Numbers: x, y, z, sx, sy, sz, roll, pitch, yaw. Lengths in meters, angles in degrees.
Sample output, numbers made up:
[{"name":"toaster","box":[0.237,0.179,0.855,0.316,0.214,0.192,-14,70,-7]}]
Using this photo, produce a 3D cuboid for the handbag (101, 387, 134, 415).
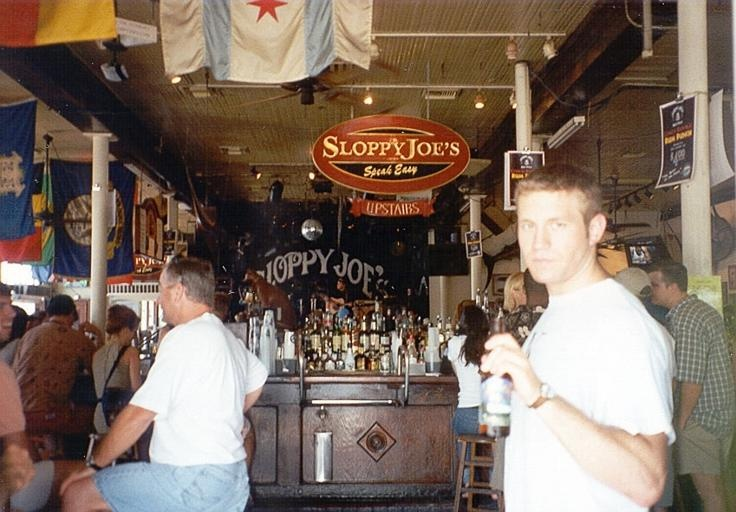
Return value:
[{"name":"handbag","box":[-2.533,1.440,7.988,0.309,0.327,0.321,1,-15,-6]}]

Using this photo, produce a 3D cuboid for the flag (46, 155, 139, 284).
[{"name":"flag","box":[-4.571,-0.650,12.943,1.915,2.792,0.211,2,12,-13]}]

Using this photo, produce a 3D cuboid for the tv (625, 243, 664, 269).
[{"name":"tv","box":[3.881,-0.007,11.025,0.415,0.309,0.139,-3,-6,-22]}]

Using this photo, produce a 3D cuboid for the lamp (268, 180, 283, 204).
[{"name":"lamp","box":[-2.029,-1.423,17.324,0.315,0.580,0.144,5,-13,-5]}]
